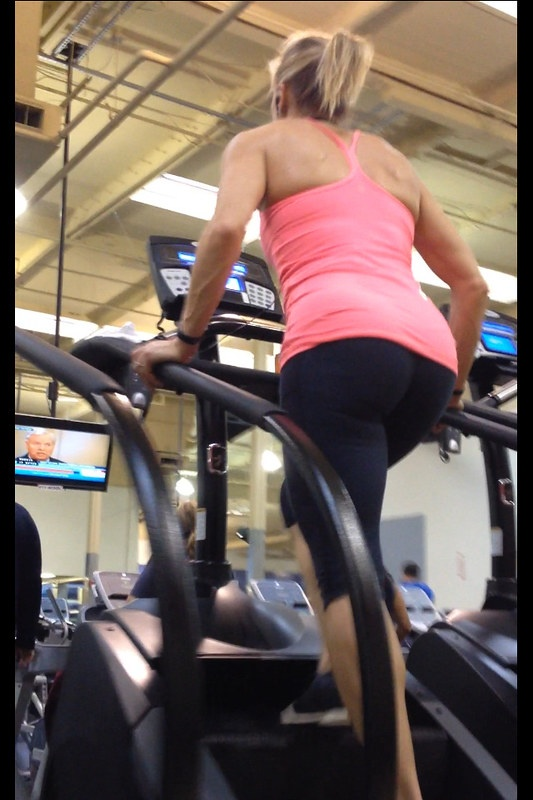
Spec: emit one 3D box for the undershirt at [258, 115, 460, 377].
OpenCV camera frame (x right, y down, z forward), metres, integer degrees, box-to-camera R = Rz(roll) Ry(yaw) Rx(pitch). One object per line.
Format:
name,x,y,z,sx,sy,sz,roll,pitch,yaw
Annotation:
undershirt,0.129,-0.209,0.810,0.278,0.343,0.114,2,-9,-2

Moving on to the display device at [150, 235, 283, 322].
display device,-0.086,-0.199,0.992,0.245,0.171,0.050,10,-49,-36
